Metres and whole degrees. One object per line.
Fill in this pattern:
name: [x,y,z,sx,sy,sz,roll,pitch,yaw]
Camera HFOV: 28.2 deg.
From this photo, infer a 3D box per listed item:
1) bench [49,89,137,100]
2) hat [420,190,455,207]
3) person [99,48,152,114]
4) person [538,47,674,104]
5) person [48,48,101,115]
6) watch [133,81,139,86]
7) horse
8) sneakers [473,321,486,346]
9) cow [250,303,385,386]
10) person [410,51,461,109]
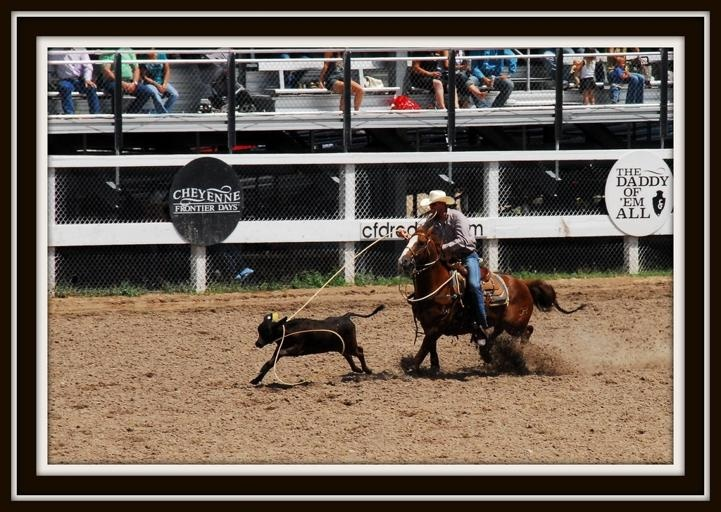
bench: [-4.865,-2.824,25.561,1.090,0.184,0.245,0,-3,-11]
hat: [1.175,-0.855,20.841,0.330,0.127,0.337,-10,-16,40]
person: [-4.189,-2.999,25.268,0.858,1.150,1.070,-4,10,-9]
person: [4.647,-3.299,26.868,2.636,1.079,1.471,-2,10,-1]
person: [-5.042,-2.999,25.208,0.803,1.163,0.958,-3,10,-8]
watch: [-4.035,-3.023,25.597,0.059,0.073,0.023,-3,9,-35]
horse: [1.808,0.693,21.647,3.511,2.181,0.780,2,15,-30]
sneakers: [1.783,1.182,21.426,0.239,0.362,0.256,0,8,11]
cow: [-1.089,1.226,20.622,2.614,1.323,0.852,0,-9,-16]
person: [1.286,-3.190,26.473,0.895,1.086,0.999,1,10,16]
